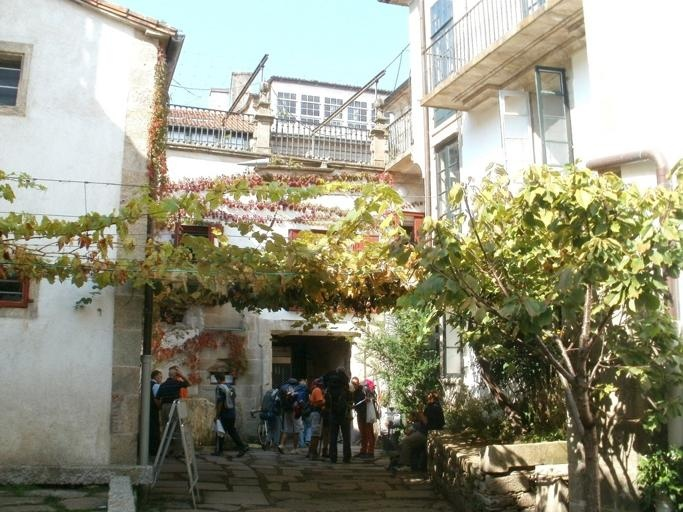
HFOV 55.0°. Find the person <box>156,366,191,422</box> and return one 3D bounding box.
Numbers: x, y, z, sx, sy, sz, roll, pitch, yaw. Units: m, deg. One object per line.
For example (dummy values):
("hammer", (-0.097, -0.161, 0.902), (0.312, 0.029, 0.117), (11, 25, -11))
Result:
("person", (-3.355, 2.963, 12.942), (0.614, 1.511, 0.424), (0, 13, -29))

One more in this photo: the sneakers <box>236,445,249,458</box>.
("sneakers", (-2.127, 4.272, 14.237), (0.125, 0.276, 0.369), (7, -6, -23))

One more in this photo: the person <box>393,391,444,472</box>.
("person", (1.565, 3.522, 13.172), (0.998, 1.511, 0.501), (1, -8, 8))

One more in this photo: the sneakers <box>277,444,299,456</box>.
("sneakers", (-1.143, 4.473, 15.017), (0.629, 0.279, 0.223), (3, -5, -15))
